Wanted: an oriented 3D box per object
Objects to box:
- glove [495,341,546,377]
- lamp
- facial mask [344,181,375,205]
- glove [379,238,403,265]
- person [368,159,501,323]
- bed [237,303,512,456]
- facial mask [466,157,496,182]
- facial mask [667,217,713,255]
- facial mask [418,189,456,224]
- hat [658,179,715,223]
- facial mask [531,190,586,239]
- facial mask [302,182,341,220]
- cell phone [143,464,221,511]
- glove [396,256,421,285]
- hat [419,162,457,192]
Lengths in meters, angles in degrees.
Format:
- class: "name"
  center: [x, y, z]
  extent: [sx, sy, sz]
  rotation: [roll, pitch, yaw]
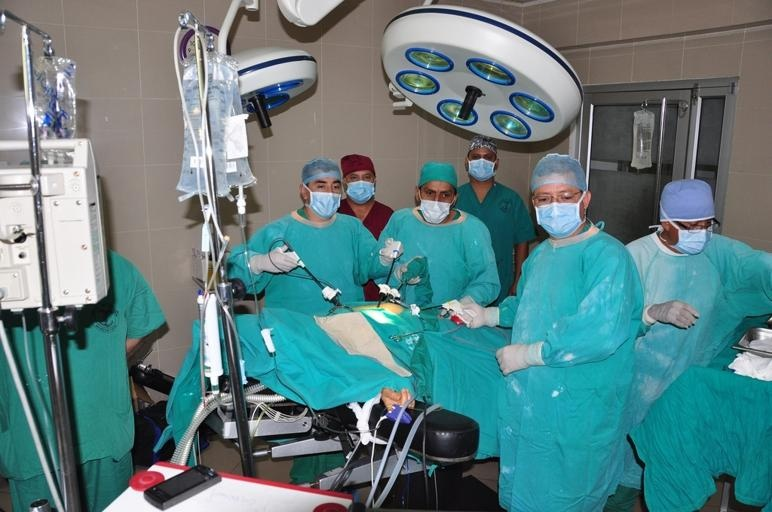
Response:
- class: "glove"
  center: [0.567, 0.436, 2.441]
  extent: [0.180, 0.113, 0.073]
  rotation: [-12, -11, 28]
- class: "lamp"
  center: [0.181, -0.857, 2.857]
  extent: [1.391, 0.626, 0.897]
  rotation: [8, -17, 34]
- class: "facial mask"
  center: [-0.150, -0.377, 3.472]
  extent: [0.125, 0.104, 0.129]
  rotation: [0, 4, -2]
- class: "glove"
  center: [0.023, -0.019, 2.908]
  extent: [0.081, 0.135, 0.172]
  rotation: [-5, 8, -36]
- class: "person"
  center: [0.284, -0.068, 3.174]
  extent: [0.780, 1.031, 0.551]
  rotation: [4, 15, 18]
- class: "bed"
  center: [0.015, 0.421, 2.473]
  extent: [0.952, 0.311, 0.669]
  rotation: [5, 8, -31]
- class: "facial mask"
  center: [0.599, -0.544, 3.616]
  extent: [0.126, 0.113, 0.136]
  rotation: [2, 12, 7]
- class: "facial mask"
  center: [1.373, -0.095, 2.652]
  extent: [0.149, 0.122, 0.159]
  rotation: [-4, 17, -19]
- class: "facial mask"
  center: [0.262, -0.260, 3.081]
  extent: [0.140, 0.087, 0.153]
  rotation: [5, 24, 1]
- class: "hat"
  center: [1.360, -0.256, 2.639]
  extent: [0.193, 0.157, 0.205]
  rotation: [-2, 12, 3]
- class: "facial mask"
  center: [0.730, -0.162, 2.454]
  extent: [0.166, 0.129, 0.198]
  rotation: [-5, 20, 31]
- class: "facial mask"
  center: [-0.307, -0.272, 2.927]
  extent: [0.139, 0.101, 0.156]
  rotation: [-1, 17, -31]
- class: "cell phone"
  center: [-0.577, 0.638, 1.638]
  extent: [0.183, 0.048, 0.094]
  rotation: [-17, 26, -38]
- class: "glove"
  center: [0.114, 0.071, 2.828]
  extent: [0.115, 0.126, 0.071]
  rotation: [0, 6, 1]
- class: "hat"
  center: [0.290, -0.440, 3.150]
  extent: [0.159, 0.105, 0.164]
  rotation: [3, 9, 7]
